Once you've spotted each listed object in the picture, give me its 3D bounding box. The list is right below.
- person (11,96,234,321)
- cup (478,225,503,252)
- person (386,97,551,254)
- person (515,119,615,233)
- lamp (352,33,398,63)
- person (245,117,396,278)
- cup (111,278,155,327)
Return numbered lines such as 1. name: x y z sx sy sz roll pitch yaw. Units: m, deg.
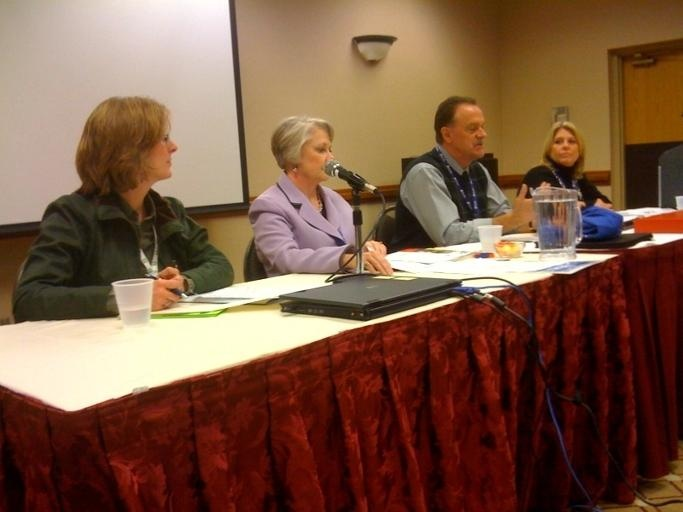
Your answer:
1. person: -0.686 -0.160 1.706 0.434 0.680 0.788 3 7 22
2. cup: 0.565 -0.070 2.027 0.091 0.103 0.094 0 4 0
3. person: 0.766 -0.357 3.140 0.734 1.083 0.942 -6 13 -28
4. person: 1.662 -0.604 3.984 0.682 0.768 0.715 -5 14 -7
5. lamp: 0.308 -1.825 4.604 0.446 0.231 0.157 -11 6 -36
6. person: -0.094 -0.191 2.361 0.588 0.857 0.527 -1 4 -43
7. cup: -0.475 0.108 1.259 0.092 0.106 0.098 -3 2 0
